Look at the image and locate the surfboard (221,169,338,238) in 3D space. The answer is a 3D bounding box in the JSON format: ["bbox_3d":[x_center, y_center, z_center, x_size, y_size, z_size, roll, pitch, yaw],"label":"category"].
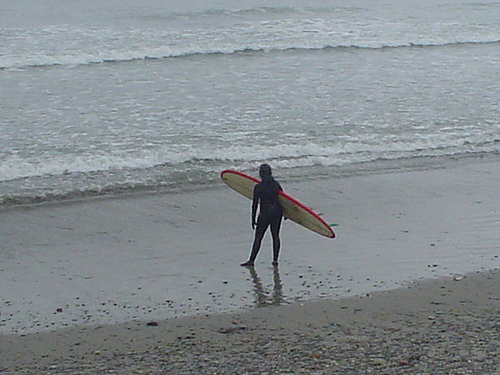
[{"bbox_3d":[0.800,1.319,31.058,3.104,3.275,1.430,4,18,18],"label":"surfboard"}]
